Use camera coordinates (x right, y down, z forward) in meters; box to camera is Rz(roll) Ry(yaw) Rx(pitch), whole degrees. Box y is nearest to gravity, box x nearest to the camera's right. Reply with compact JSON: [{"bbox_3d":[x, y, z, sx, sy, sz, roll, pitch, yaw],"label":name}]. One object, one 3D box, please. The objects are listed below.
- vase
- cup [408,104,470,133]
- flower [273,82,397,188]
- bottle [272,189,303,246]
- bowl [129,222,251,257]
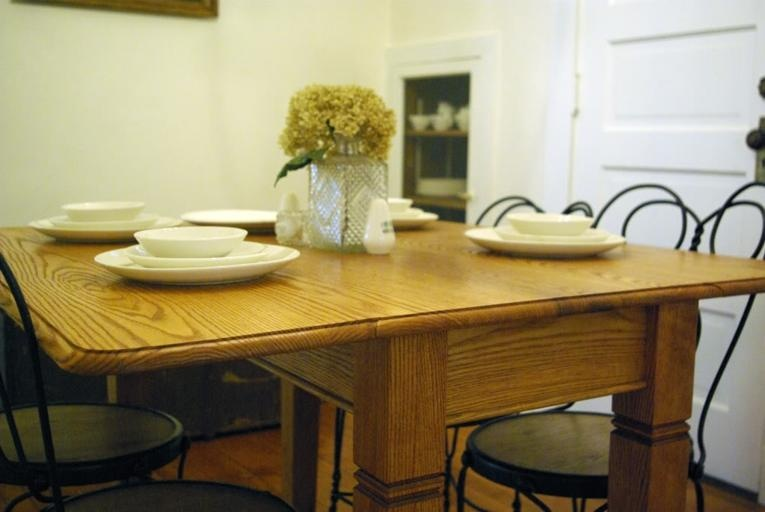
[{"bbox_3d":[-0.098,-0.187,1.768,0.237,0.325,0.238,1,5,-2],"label":"vase"},{"bbox_3d":[0.325,-0.751,3.459,0.140,0.129,0.311,-3,2,-42],"label":"cup"},{"bbox_3d":[-0.134,-0.302,1.792,0.298,0.299,0.287,0,2,-41],"label":"flower"},{"bbox_3d":[-0.272,-0.118,1.839,0.085,0.148,0.091,3,10,-1],"label":"bottle"},{"bbox_3d":[-0.426,-0.024,1.386,0.236,0.058,0.241,1,7,0],"label":"bowl"}]
